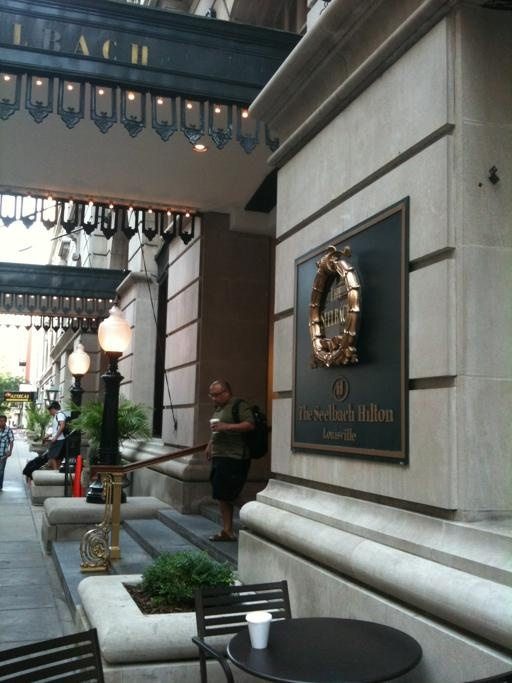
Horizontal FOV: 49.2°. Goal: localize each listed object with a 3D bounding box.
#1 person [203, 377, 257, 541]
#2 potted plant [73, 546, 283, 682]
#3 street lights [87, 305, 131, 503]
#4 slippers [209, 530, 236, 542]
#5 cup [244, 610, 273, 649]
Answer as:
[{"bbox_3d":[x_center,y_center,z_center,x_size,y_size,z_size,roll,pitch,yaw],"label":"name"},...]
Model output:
[{"bbox_3d":[-0.317,1.394,6.647,0.526,1.851,0.813,1,-5,-5],"label":"person"},{"bbox_3d":[-0.556,1.588,3.139,0.929,0.360,0.910,0,-3,-28],"label":"potted plant"},{"bbox_3d":[-2.057,0.581,7.770,0.425,2.252,0.663,2,-5,-17],"label":"street lights"},{"bbox_3d":[-0.397,2.248,6.532,0.292,0.134,0.126,4,-9,-9],"label":"slippers"},{"bbox_3d":[0.009,1.110,2.196,0.104,0.121,0.114,-4,-5,0],"label":"cup"}]
